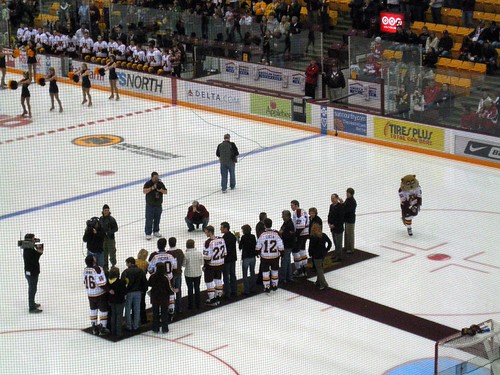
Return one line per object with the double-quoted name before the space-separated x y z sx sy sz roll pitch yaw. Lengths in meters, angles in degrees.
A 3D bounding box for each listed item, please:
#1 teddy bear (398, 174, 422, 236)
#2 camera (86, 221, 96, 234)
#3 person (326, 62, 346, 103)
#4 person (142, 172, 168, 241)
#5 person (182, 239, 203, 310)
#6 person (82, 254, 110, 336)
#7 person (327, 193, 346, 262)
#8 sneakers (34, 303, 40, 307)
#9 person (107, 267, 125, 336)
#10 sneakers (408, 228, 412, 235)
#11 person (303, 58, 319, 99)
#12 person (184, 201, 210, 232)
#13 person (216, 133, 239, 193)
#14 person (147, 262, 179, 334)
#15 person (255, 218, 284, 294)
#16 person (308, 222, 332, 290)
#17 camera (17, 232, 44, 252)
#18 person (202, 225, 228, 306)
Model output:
"teddy bear" 4.098 0.454 20.851 0.566 1.537 0.492 4 15 10
"camera" -3.593 0.912 18.368 0.258 0.269 0.115 3 -16 -17
"person" 2.995 -3.735 29.163 0.807 1.633 0.517 0 32 5
"person" -2.442 0.460 20.802 0.552 1.711 0.572 -1 15 -7
"person" -1.252 1.913 17.838 0.436 1.629 0.414 0 15 -5
"person" -3.236 2.279 17.113 0.490 1.726 0.591 0 15 -5
"person" 2.071 0.957 19.608 0.386 1.663 0.495 3 15 8
"sneakers" -4.748 2.647 18.083 0.046 0.053 0.179 23 -2 2
"person" -2.814 2.431 16.898 0.462 1.522 0.223 12 18 34
"sneakers" 4.099 1.149 20.791 0.071 0.091 0.233 -4 47 5
"person" 2.233 -3.974 29.548 0.519 1.350 0.530 3 15 8
"person" -1.376 0.752 21.087 0.602 0.894 0.627 0 15 -4
"person" -0.677 -0.701 23.536 0.608 1.703 0.330 1 15 -2
"person" -1.869 2.369 17.048 0.517 1.522 0.316 -1 15 -7
"person" 0.427 1.596 18.248 0.603 1.722 0.299 1 15 0
"person" 1.589 1.539 18.554 0.504 1.596 0.755 3 15 5
"camera" -4.731 1.194 17.704 0.414 0.181 0.571 11 11 43
"person" -0.778 1.748 17.895 0.561 1.820 0.285 -5 16 -22
